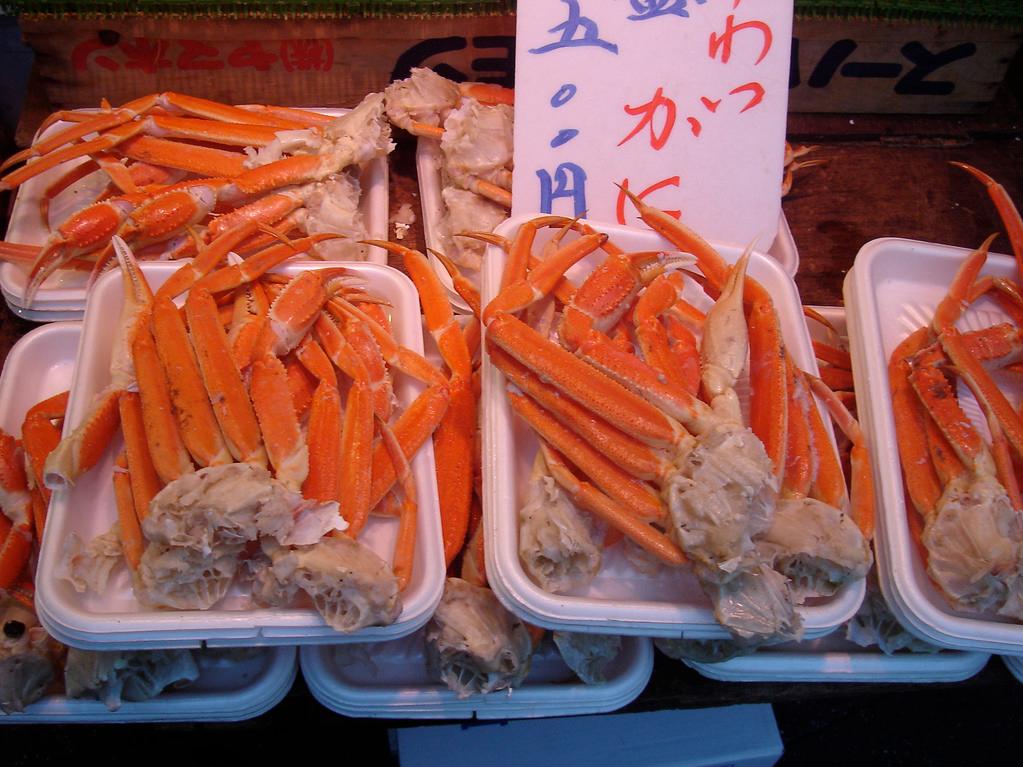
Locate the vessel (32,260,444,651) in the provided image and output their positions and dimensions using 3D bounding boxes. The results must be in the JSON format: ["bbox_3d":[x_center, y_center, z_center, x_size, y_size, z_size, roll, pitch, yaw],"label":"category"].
[{"bbox_3d":[-0.554,0.148,1.748,0.788,0.560,0.738,-2,34,-6],"label":"vessel"}]
